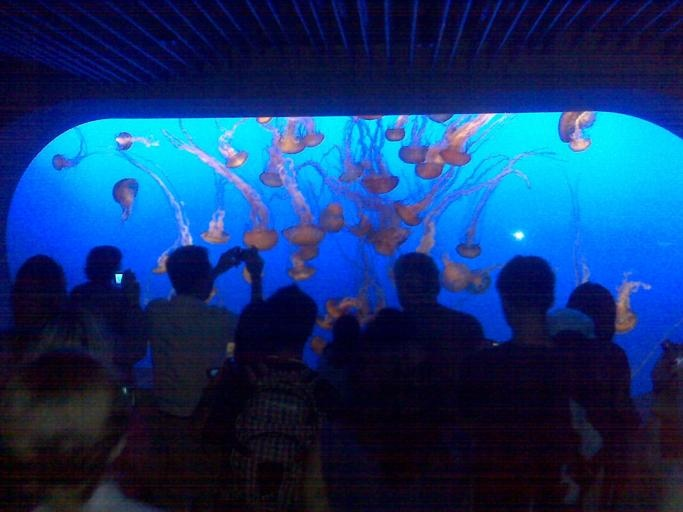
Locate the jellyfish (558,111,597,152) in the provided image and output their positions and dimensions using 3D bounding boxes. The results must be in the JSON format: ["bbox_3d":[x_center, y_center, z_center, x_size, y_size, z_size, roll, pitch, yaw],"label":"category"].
[{"bbox_3d":[1.735,-0.901,5.538,0.257,0.275,0.117,0,-7,6],"label":"jellyfish"}]

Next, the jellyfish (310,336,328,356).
[{"bbox_3d":[-0.152,0.624,5.305,0.133,0.114,0.029,5,-29,-26],"label":"jellyfish"}]

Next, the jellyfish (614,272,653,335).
[{"bbox_3d":[2.041,0.343,5.428,0.274,0.427,0.202,14,0,-10],"label":"jellyfish"}]
